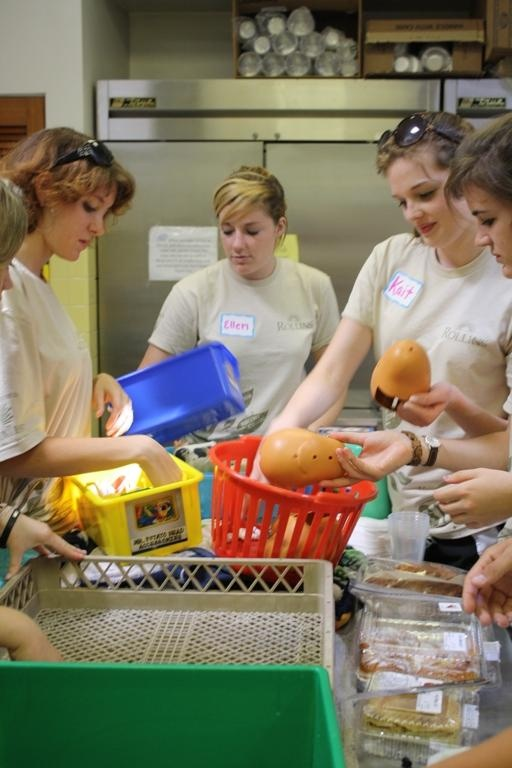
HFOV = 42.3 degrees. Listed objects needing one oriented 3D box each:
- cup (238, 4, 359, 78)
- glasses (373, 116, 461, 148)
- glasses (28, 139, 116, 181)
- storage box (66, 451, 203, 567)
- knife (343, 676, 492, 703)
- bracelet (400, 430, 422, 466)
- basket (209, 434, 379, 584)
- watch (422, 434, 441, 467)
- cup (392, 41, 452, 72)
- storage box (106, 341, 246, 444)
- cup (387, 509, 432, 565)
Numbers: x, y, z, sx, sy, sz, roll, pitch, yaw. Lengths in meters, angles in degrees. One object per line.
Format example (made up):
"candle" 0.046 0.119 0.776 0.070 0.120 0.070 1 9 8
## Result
"cup" 0.181 -1.485 2.849 0.471 0.310 0.141 0 14 3
"glasses" 0.325 -0.495 1.342 0.120 0.036 0.103 17 -5 -38
"glasses" -0.336 -0.415 1.271 0.098 0.034 0.082 -20 9 5
"storage box" -0.229 0.212 1.091 0.180 0.108 0.262 -9 4 -40
"knife" 0.180 0.355 0.776 0.104 0.015 0.063 -9 -19 7
"bracelet" 0.281 0.109 1.209 0.021 0.052 0.045 -5 37 8
"basket" 0.066 0.180 1.033 0.217 0.127 0.214 22 16 28
"watch" 0.321 0.121 1.210 0.035 0.047 0.050 3 11 2
"cup" 0.731 -1.432 2.908 0.166 0.078 0.085 -2 6 -2
"storage box" -0.183 0.014 1.622 0.321 0.189 0.145 -26 46 -9
"cup" 0.255 0.259 1.162 0.084 0.086 0.080 1 8 0
